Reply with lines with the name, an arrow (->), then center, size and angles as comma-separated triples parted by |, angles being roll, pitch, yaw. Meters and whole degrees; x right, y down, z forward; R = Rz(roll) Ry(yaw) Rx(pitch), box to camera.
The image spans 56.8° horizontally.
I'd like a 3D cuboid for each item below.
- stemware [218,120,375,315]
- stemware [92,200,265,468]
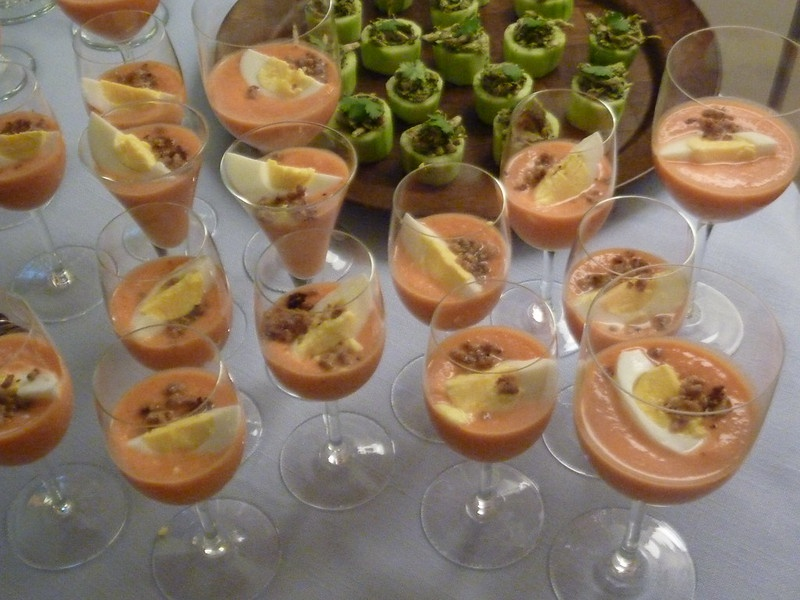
stemware -> -0.257, -0.211, 1.971 | 0.414, 0.425, 0.404 | -4, 54, -6
stemware -> -0.502, 0.090, 1.663 | 0.324, 0.589, 0.315 | -16, 50, -14
